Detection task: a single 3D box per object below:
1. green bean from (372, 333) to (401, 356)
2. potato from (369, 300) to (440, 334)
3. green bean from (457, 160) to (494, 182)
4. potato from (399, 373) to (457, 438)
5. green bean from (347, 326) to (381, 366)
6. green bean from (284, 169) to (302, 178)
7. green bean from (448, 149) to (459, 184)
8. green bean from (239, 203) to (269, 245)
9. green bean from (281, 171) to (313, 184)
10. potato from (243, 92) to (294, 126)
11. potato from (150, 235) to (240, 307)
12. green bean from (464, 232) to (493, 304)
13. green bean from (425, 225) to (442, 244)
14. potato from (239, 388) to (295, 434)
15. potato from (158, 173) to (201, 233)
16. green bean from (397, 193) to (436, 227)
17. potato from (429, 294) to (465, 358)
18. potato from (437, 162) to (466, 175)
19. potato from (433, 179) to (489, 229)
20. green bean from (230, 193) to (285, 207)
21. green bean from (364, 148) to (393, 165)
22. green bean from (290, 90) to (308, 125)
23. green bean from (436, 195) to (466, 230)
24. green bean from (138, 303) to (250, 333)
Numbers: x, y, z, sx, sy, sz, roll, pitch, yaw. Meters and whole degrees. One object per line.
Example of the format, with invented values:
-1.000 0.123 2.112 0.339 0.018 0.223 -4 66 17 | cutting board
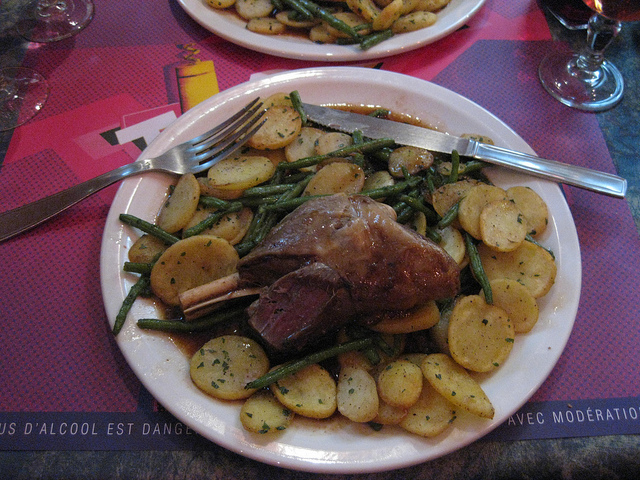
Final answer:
0.322 0.486 2.559 0.106 0.032 0.107 -26 76 -14 | green bean
0.452 0.351 2.710 0.325 0.360 0.114 1 99 -20 | potato
0.844 -0.382 2.920 0.229 0.048 0.038 -21 66 3 | green bean
0.494 0.772 2.381 0.201 0.080 0.240 32 72 9 | potato
0.216 0.502 2.540 0.074 0.073 0.258 -18 40 -30 | green bean
-0.153 -0.376 2.967 0.053 0.052 0.013 -26 94 18 | green bean
0.700 -0.388 2.837 0.048 0.209 0.037 -2 27 -5 | green bean
-0.327 -0.078 2.787 0.072 0.047 0.317 22 69 8 | green bean
-0.121 -0.341 2.911 0.154 0.031 0.038 -20 73 4 | green bean
-0.270 -0.759 3.073 0.362 0.050 0.134 -29 66 -24 | potato
-0.611 0.176 2.646 0.390 0.122 0.422 5 37 10 | potato
0.765 0.126 2.655 0.056 0.048 0.423 -8 46 -3 | green bean
0.583 -0.026 2.761 0.053 0.036 0.101 -20 59 -37 | green bean
-0.242 0.776 2.383 0.208 0.118 0.182 43 74 13 | potato
-0.718 -0.191 2.781 0.218 0.071 0.311 20 84 44 | potato
0.502 -0.154 2.799 0.254 0.065 0.054 32 83 -12 | green bean
0.597 0.424 2.603 0.070 0.244 0.247 2 31 29 | potato
0.693 -0.392 2.912 0.084 0.023 0.087 -6 37 -4 | potato
0.769 -0.159 2.890 0.299 0.346 0.091 -19 65 -14 | potato
-0.326 -0.214 2.824 0.233 0.036 0.049 -5 18 15 | green bean
0.301 -0.472 3.085 0.056 0.284 0.074 -24 101 -27 | green bean
-0.125 -0.771 3.066 0.058 0.044 0.255 -28 64 11 | green bean
0.688 -0.174 2.801 0.051 0.060 0.297 28 53 21 | green bean
-0.629 0.375 2.602 0.513 0.072 0.093 -5 33 -40 | green bean
